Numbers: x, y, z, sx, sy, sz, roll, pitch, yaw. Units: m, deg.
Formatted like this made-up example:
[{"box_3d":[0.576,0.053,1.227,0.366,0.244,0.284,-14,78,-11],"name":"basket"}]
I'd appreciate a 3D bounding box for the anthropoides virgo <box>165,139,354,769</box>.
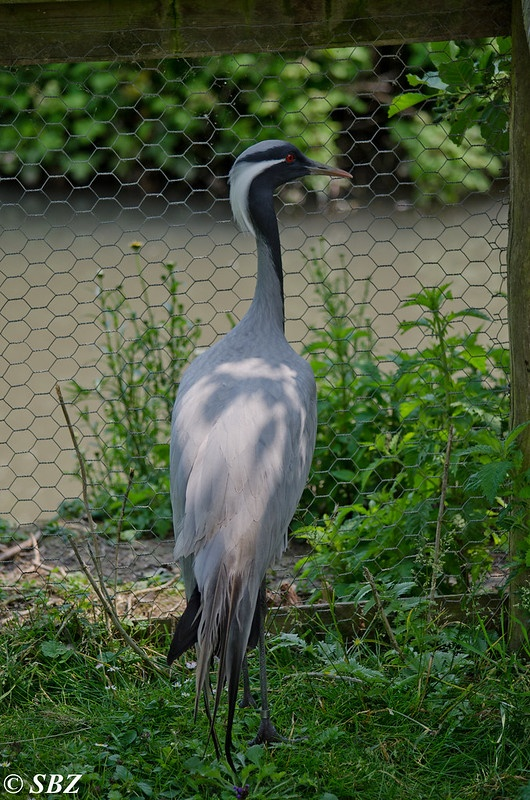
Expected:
[{"box_3d":[-0.117,0.088,3.088,0.433,1.926,0.862,-5,4,25],"name":"anthropoides virgo"}]
